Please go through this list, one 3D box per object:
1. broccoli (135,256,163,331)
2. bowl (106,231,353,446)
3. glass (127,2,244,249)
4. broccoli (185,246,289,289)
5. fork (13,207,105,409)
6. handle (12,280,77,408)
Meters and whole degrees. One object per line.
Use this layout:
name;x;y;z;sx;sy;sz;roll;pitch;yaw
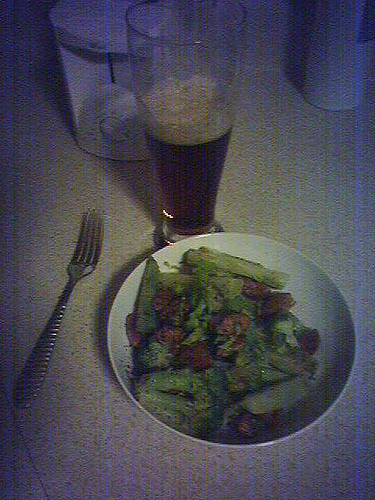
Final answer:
broccoli;-0.046;0.070;0.878;0.049;0.119;0.014;1;-21;-3
bowl;0.031;0.086;0.877;0.078;0.336;0.400;-12;-6;-44
glass;-0.016;-0.188;0.919;0.174;0.358;0.128;6;18;-6
broccoli;0.061;0.032;0.878;0.152;0.052;0.018;14;-21;-3
fork;-0.185;0.097;0.911;0.050;0.309;0.037;24;-12;10
handle;-0.199;0.147;0.906;0.041;0.216;0.012;20;-9;5
